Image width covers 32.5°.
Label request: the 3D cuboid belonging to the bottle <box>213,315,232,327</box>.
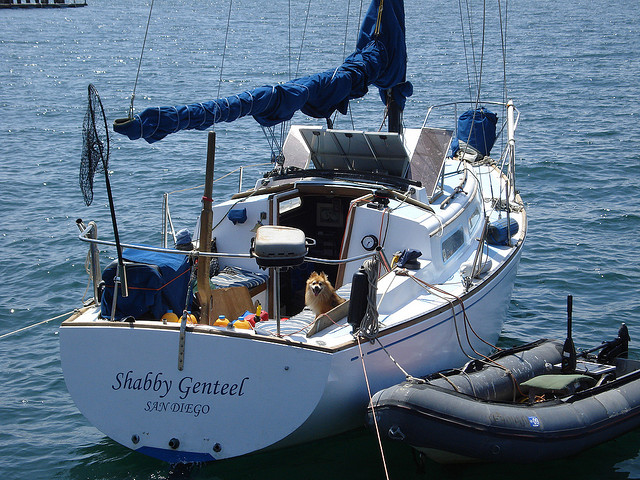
[{"bbox_3d":[-1.662,1.389,18.663,0.275,0.347,0.162,1,-4,-3],"label":"bottle"}]

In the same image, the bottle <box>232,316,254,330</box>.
[{"bbox_3d":[-1.304,1.423,18.716,0.283,0.250,0.165,-1,19,4],"label":"bottle"}]

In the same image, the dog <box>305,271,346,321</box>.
[{"bbox_3d":[0.050,0.929,19.267,0.547,0.769,0.916,3,3,18],"label":"dog"}]

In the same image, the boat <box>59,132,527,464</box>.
[{"bbox_3d":[0.782,0.449,22.604,6.518,4.187,11.966,8,22,31],"label":"boat"}]
